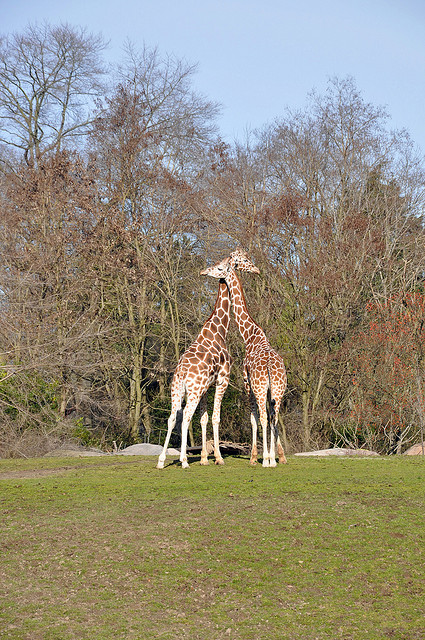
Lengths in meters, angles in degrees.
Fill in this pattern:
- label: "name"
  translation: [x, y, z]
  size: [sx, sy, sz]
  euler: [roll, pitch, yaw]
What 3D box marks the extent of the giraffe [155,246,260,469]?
- label: "giraffe"
  translation: [-0.121, 0.838, 18.730]
  size: [1.392, 3.718, 3.030]
  euler: [1, 10, 2]
